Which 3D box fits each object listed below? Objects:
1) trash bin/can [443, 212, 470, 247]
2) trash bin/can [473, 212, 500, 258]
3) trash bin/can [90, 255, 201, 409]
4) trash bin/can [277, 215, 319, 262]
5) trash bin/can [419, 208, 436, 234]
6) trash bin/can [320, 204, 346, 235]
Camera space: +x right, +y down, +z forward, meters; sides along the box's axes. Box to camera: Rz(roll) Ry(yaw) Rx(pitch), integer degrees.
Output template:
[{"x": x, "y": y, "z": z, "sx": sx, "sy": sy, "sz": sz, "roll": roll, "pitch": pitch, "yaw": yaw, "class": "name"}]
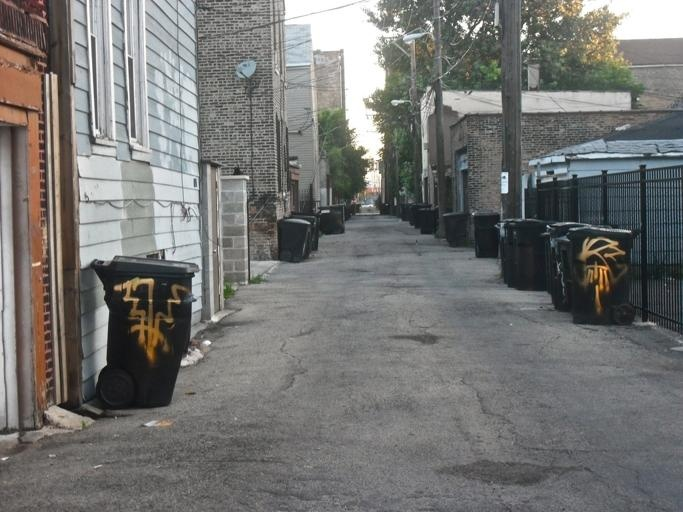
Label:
[{"x": 4.229, "y": -0.955, "z": 26.983, "sx": 0.972, "sy": 1.166, "sz": 1.049, "roll": -1, "pitch": 2, "yaw": 23, "class": "trash bin/can"}, {"x": 4.445, "y": -0.615, "z": 22.420, "sx": 0.786, "sy": 1.368, "sz": 0.568, "roll": -2, "pitch": 6, "yaw": 12, "class": "trash bin/can"}, {"x": -2.166, "y": 0.713, "z": 8.020, "sx": 1.088, "sy": 1.625, "sz": 0.798, "roll": 3, "pitch": 17, "yaw": -11, "class": "trash bin/can"}, {"x": -1.522, "y": -0.496, "z": 23.329, "sx": 1.089, "sy": 1.309, "sz": 1.003, "roll": -5, "pitch": 6, "yaw": -15, "class": "trash bin/can"}, {"x": 4.052, "y": -1.643, "z": 34.857, "sx": 0.857, "sy": 1.349, "sz": 1.087, "roll": -1, "pitch": 3, "yaw": 8, "class": "trash bin/can"}, {"x": -0.503, "y": -1.875, "z": 39.192, "sx": 1.538, "sy": 1.839, "sz": 1.269, "roll": -2, "pitch": -2, "yaw": -6, "class": "trash bin/can"}]
